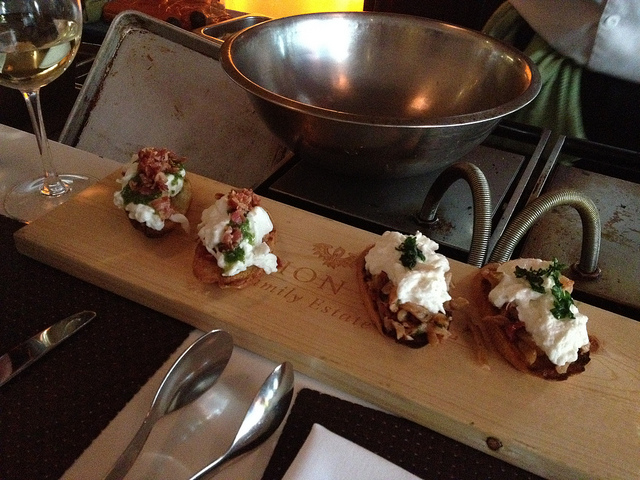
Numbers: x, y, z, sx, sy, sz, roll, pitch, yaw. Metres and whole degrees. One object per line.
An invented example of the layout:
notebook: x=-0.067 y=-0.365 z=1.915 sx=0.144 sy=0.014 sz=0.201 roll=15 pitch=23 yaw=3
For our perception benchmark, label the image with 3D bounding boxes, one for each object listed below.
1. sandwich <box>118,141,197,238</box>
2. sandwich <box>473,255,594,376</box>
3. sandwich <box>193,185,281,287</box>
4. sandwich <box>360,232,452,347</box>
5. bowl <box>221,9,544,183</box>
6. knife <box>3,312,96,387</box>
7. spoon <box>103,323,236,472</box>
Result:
sandwich: x=-0.259 y=-0.095 z=0.769 sx=0.123 sy=0.115 sz=0.182 roll=5 pitch=50 yaw=-15
sandwich: x=0.295 y=0.076 z=0.635 sx=0.140 sy=0.075 sz=0.202 roll=-8 pitch=46 yaw=9
sandwich: x=-0.115 y=-0.010 z=0.699 sx=0.132 sy=0.066 sz=0.187 roll=16 pitch=38 yaw=-6
sandwich: x=0.124 y=0.053 z=0.654 sx=0.122 sy=0.070 sz=0.181 roll=-2 pitch=51 yaw=-9
bowl: x=0.099 y=-0.301 z=0.923 sx=0.473 sy=0.176 sz=0.474 roll=1 pitch=41 yaw=-1
knife: x=-0.362 y=0.152 z=0.630 sx=0.104 sy=0.064 sz=0.100 roll=10 pitch=26 yaw=14
spoon: x=-0.164 y=0.171 z=0.608 sx=0.056 sy=0.033 sz=0.259 roll=35 pitch=59 yaw=8
